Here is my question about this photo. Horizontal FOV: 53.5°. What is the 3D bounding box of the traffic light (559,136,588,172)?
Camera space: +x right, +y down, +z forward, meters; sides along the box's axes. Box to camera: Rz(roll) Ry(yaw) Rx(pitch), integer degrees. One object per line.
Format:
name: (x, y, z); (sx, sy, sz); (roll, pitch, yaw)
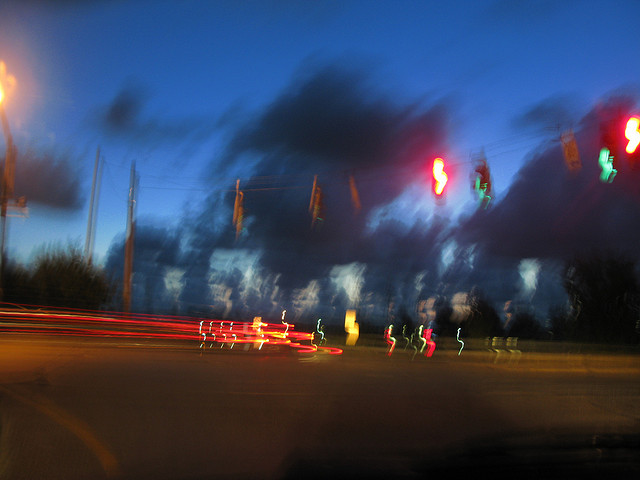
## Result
traffic light: (7.388, -2.626, 18.719); (0.458, 0.161, 1.872); (17, -18, 31)

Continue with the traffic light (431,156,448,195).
traffic light: (3.607, -1.964, 19.287); (0.407, 1.046, 0.608); (2, -6, 11)

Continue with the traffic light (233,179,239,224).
traffic light: (-3.130, -1.425, 23.941); (0.152, 1.340, 0.343); (3, -5, -8)

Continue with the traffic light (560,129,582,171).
traffic light: (7.346, -2.728, 18.689); (0.447, 1.434, 1.454); (1, -6, 19)

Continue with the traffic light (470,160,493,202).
traffic light: (4.928, -1.859, 19.287); (0.551, 1.319, 1.135); (1, -6, 13)

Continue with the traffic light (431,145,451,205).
traffic light: (3.611, -1.866, 19.162); (0.426, 1.267, 1.160); (2, -6, 4)
